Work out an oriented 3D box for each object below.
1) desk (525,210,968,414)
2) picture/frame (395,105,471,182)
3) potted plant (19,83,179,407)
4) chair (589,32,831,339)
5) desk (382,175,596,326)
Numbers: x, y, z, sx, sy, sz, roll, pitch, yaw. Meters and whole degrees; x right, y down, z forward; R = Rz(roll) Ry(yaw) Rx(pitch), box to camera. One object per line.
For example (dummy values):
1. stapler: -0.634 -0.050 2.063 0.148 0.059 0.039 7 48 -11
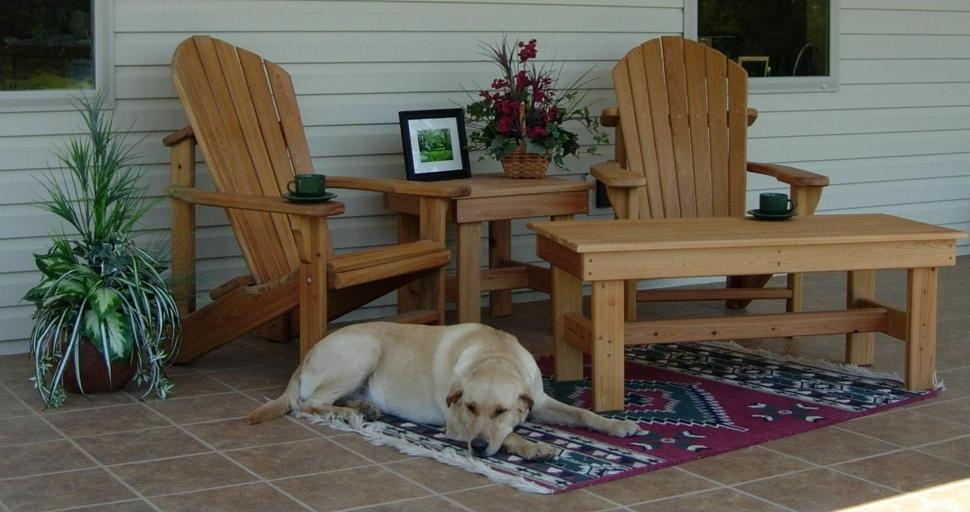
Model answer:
1. desk: 1.408 0.121 4.476 3.544 0.963 1.178 -2 15 -8
2. picture/frame: -0.349 -0.783 5.233 0.431 0.520 0.475 1 1 36
3. potted plant: -2.243 -0.065 4.547 1.261 1.902 1.203 1 0 -16
4. chair: 1.505 -0.671 5.692 2.079 1.840 1.906 0 5 -3
5. desk: 0.218 -0.045 5.354 1.564 0.973 1.366 -5 10 -32
